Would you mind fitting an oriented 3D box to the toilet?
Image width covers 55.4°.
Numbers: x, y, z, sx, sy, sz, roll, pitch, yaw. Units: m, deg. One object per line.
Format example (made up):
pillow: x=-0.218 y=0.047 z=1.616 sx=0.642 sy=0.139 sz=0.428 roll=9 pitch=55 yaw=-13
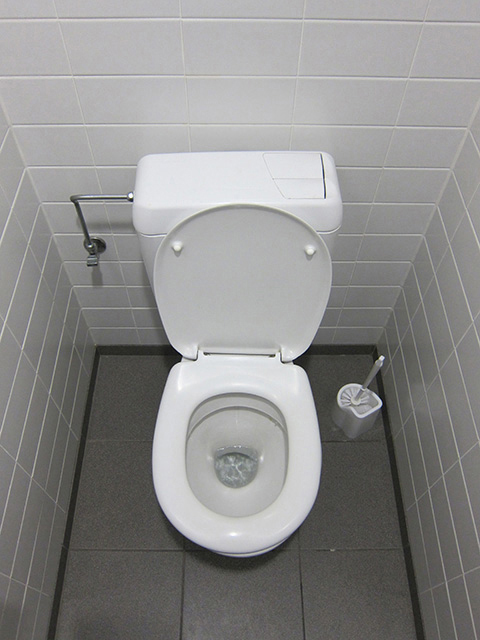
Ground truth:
toilet: x=0.000 y=0.125 z=1.018 sx=0.416 sy=0.634 sz=0.687 roll=-2 pitch=58 yaw=-4
